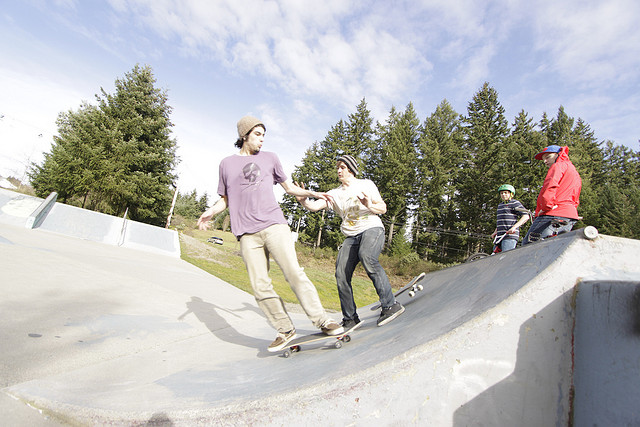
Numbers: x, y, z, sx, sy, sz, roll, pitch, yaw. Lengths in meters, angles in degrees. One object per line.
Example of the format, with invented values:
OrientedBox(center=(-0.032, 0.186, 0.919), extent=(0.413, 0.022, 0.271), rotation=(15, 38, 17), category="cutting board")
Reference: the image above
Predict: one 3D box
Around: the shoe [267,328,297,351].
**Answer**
OrientedBox(center=(-0.358, 1.196, 3.068), extent=(0.317, 0.148, 0.125), rotation=(-28, -20, -28), category="shoe")

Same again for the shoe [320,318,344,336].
OrientedBox(center=(0.105, 1.066, 2.953), extent=(0.098, 0.099, 0.240), rotation=(-15, -12, -30), category="shoe")

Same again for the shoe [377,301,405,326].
OrientedBox(center=(0.693, 1.017, 3.293), extent=(0.370, 0.141, 0.125), rotation=(-22, 2, -26), category="shoe")

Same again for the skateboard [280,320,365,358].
OrientedBox(center=(-0.046, 1.192, 2.979), extent=(1.031, 0.174, 0.269), rotation=(-13, -1, 21), category="skateboard")

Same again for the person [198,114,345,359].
OrientedBox(center=(-0.557, 0.188, 3.175), extent=(1.097, 2.378, 0.657), rotation=(-3, -2, -12), category="person")

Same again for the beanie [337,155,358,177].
OrientedBox(center=(0.336, -0.581, 3.885), extent=(0.225, 0.193, 0.254), rotation=(-4, -2, 14), category="beanie")

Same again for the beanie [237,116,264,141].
OrientedBox(center=(-0.756, -0.875, 3.239), extent=(0.242, 0.231, 0.163), rotation=(-4, -2, 12), category="beanie")
